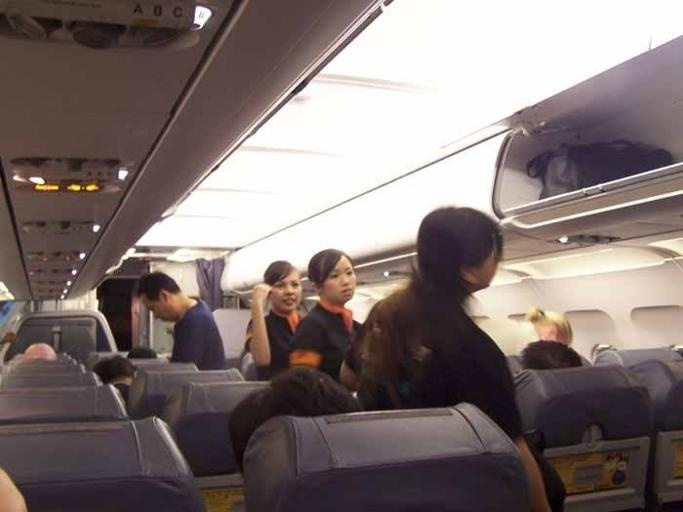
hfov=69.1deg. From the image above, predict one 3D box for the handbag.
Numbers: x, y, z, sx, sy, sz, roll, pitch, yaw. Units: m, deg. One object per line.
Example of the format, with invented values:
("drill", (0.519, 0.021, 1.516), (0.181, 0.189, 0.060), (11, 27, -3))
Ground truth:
("handbag", (1.447, -0.504, 2.891), (0.259, 0.126, 0.493), (-14, 2, -24))
